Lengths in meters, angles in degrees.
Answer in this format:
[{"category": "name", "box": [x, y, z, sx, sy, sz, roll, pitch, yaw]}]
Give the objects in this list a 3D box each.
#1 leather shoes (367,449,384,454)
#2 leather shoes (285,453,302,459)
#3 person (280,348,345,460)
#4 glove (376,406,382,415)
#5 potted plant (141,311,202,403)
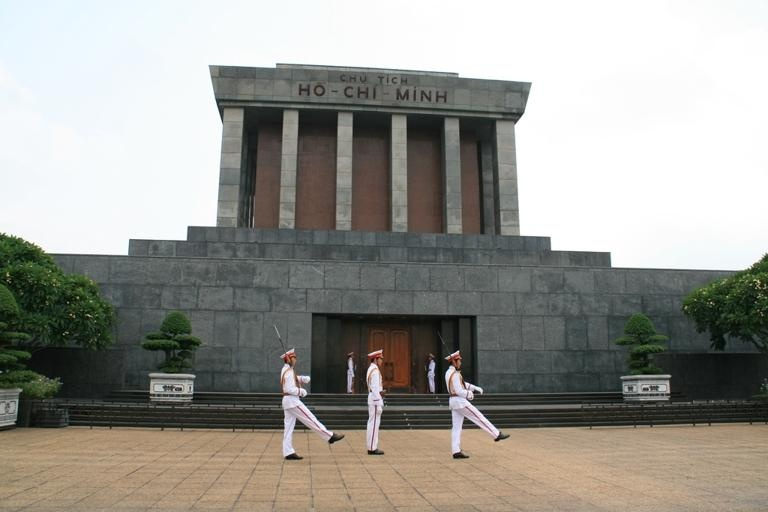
[{"category": "leather shoes", "box": [-0.222, 5.043, 18.685, 0.391, 0.142, 0.141, -1, -12, 2]}, {"category": "leather shoes", "box": [-2.229, 4.962, 17.951, 0.447, 0.174, 0.159, 1, -8, -6]}, {"category": "person", "box": [-2.009, 3.725, 18.369, 1.601, 2.676, 1.189, -10, -11, 43]}, {"category": "glove", "box": [-0.121, 3.989, 18.727, 0.102, 0.253, 0.270, -4, -8, 9]}, {"category": "potted plant", "box": [-7.708, 3.641, 26.556, 1.734, 3.315, 2.850, 0, -8, -16]}]
